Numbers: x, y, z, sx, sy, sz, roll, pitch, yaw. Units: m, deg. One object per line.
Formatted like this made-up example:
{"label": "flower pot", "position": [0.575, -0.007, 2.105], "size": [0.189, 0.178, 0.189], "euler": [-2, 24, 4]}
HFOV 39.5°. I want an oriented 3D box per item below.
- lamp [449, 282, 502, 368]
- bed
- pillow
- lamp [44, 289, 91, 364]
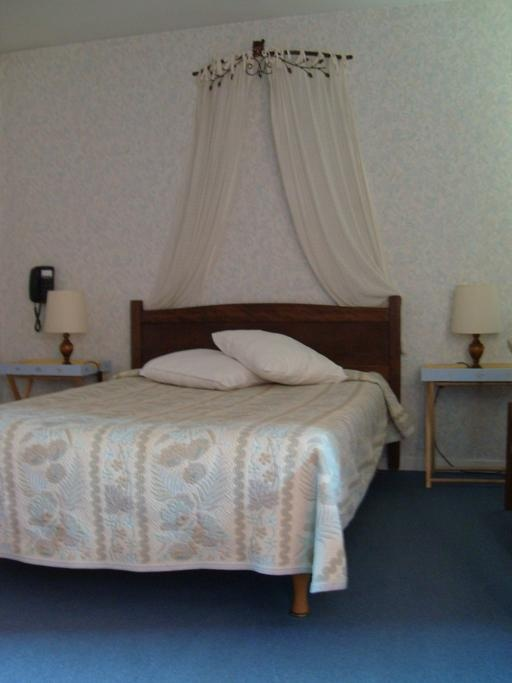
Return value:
{"label": "lamp", "position": [1.143, -0.086, 3.722], "size": [0.242, 0.422, 0.351], "euler": [1, 6, 14]}
{"label": "bed", "position": [-0.238, 0.231, 3.369], "size": [1.681, 0.934, 1.696], "euler": [0, 1, 18]}
{"label": "pillow", "position": [-0.022, 0.105, 3.445], "size": [0.537, 0.155, 0.468], "euler": [-2, 5, -45]}
{"label": "lamp", "position": [-1.135, -0.079, 4.276], "size": [0.317, 0.420, 0.313], "euler": [0, 1, 38]}
